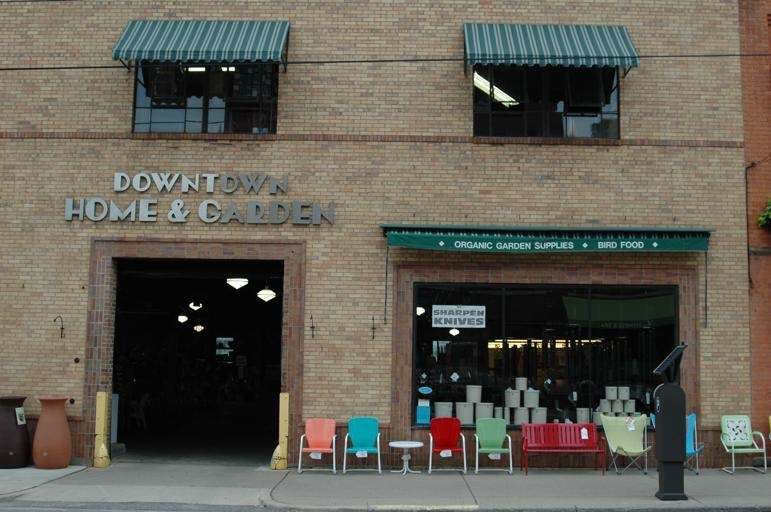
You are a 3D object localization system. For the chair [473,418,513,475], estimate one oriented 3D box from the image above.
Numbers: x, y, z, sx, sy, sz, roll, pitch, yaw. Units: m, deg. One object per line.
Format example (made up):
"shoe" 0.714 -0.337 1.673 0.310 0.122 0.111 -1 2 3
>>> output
"chair" 2.603 4.741 33.201 0.998 1.312 1.003 -1 -5 13

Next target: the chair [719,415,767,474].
"chair" 8.675 4.868 34.256 1.149 1.902 1.349 2 -18 -3

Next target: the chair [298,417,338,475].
"chair" -1.602 4.728 33.163 0.987 1.302 1.019 -1 -5 20

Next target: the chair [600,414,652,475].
"chair" 5.945 4.753 33.734 1.226 1.380 1.033 -1 13 -5

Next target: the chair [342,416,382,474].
"chair" -0.546 4.720 33.130 1.025 1.328 1.050 -2 -6 20

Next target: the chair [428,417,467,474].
"chair" 1.508 4.873 33.823 1.220 1.739 1.174 1 -18 -1
